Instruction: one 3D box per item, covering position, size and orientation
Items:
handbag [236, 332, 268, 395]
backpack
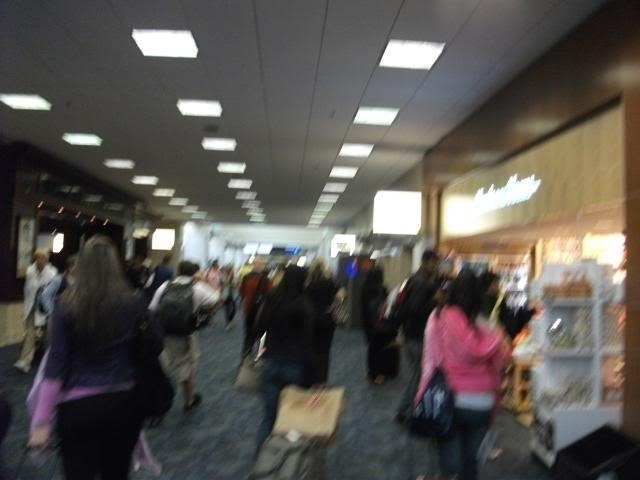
[{"bbox_3d":[-0.520,0.955,3.624,0.267,0.399,0.136,3,-1,25],"label":"handbag"},{"bbox_3d":[-1.445,0.700,4.791,0.517,0.585,0.309,7,-5,-6],"label":"backpack"}]
